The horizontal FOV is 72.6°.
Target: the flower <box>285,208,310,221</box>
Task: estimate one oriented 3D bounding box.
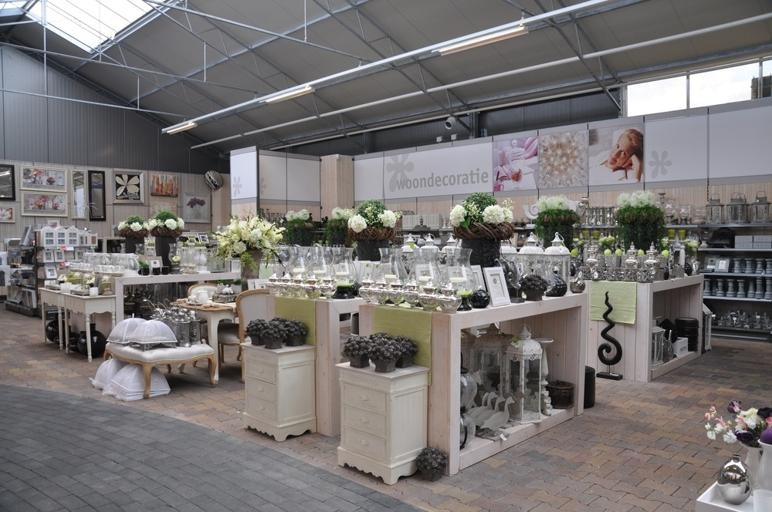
[{"bbox_3d":[-2.664,-1.209,15.261,0.533,0.257,0.709,-1,2,-11],"label":"flower"}]

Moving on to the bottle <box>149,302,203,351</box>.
[{"bbox_3d":[-2.998,0.965,7.328,0.695,0.467,0.433,-3,-3,40],"label":"bottle"}]

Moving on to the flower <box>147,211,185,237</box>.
[{"bbox_3d":[-4.306,-0.585,10.279,0.560,0.434,0.556,0,-1,1],"label":"flower"}]

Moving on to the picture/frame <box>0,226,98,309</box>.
[{"bbox_3d":[-7.746,0.260,11.934,1.316,2.229,2.190,-2,3,-43],"label":"picture/frame"}]

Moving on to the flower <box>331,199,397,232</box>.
[{"bbox_3d":[-0.244,-0.558,7.554,0.691,0.464,0.361,1,11,9],"label":"flower"}]

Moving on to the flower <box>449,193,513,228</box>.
[{"bbox_3d":[1.073,-0.502,5.946,0.526,0.310,0.438,-3,0,8],"label":"flower"}]

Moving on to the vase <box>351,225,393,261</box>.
[{"bbox_3d":[-0.215,-0.172,7.671,0.507,0.365,0.513,-3,-4,24],"label":"vase"}]

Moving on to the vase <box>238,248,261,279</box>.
[{"bbox_3d":[-2.127,0.102,8.141,0.427,0.454,0.399,2,5,2],"label":"vase"}]

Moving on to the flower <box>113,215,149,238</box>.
[{"bbox_3d":[-5.350,-0.558,11.003,0.723,0.520,0.639,-2,-1,34],"label":"flower"}]

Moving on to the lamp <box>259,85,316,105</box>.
[{"bbox_3d":[-2.316,-3.803,12.274,0.351,0.284,1.733,-10,14,-41],"label":"lamp"}]

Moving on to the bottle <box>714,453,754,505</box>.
[{"bbox_3d":[2.702,1.747,4.136,0.300,0.423,0.306,4,1,0],"label":"bottle"}]
